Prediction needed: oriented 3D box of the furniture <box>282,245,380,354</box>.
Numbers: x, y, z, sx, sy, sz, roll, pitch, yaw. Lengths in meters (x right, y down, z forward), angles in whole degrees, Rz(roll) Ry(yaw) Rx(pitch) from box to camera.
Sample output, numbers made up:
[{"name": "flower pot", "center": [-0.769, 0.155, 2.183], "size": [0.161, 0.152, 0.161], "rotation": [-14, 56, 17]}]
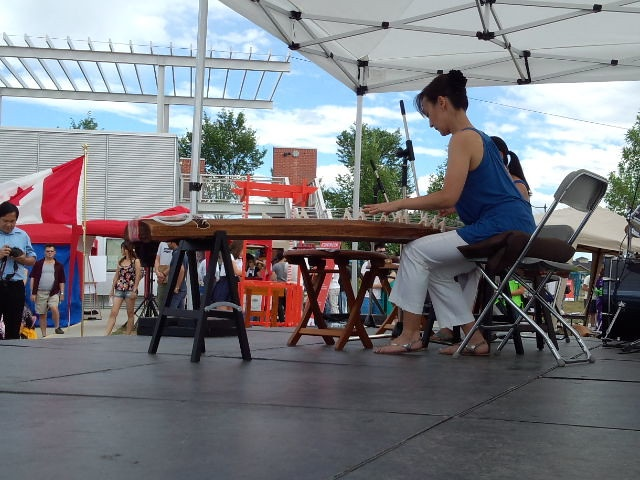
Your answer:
[{"name": "furniture", "center": [0.122, 0.501, 4.950], "size": [0.883, 0.772, 0.858], "rotation": [6, -4, -32]}]

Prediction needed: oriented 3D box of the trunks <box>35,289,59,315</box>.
[{"name": "trunks", "center": [-5.354, 1.203, 11.972], "size": [0.375, 0.649, 0.513], "rotation": [-3, -5, 42]}]

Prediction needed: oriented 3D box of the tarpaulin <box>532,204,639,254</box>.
[{"name": "tarpaulin", "center": [3.829, -0.148, 8.694], "size": [1.071, 0.506, 1.041], "rotation": [2, 0, -44]}]

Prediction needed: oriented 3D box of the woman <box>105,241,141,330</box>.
[{"name": "woman", "center": [-3.406, 0.886, 10.725], "size": [0.517, 1.632, 1.984], "rotation": [3, -4, -19]}]

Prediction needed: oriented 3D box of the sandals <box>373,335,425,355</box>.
[{"name": "sandals", "center": [0.575, 0.760, 4.398], "size": [0.354, 0.124, 0.124], "rotation": [3, -13, -22]}]

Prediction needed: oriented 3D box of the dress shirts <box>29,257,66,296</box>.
[{"name": "dress shirts", "center": [-5.296, 0.746, 11.876], "size": [0.863, 0.887, 0.493], "rotation": [4, -11, -28]}]

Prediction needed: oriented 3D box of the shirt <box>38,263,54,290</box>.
[{"name": "shirt", "center": [-5.390, 0.735, 12.087], "size": [0.288, 0.549, 0.155], "rotation": [3, -4, -25]}]

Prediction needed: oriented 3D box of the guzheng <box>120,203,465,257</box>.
[{"name": "guzheng", "center": [-0.265, -0.043, 4.181], "size": [2.046, 0.253, 0.707], "rotation": [3, -4, -17]}]

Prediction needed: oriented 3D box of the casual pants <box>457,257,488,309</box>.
[{"name": "casual pants", "center": [1.152, 0.321, 4.635], "size": [0.114, 0.117, 0.496], "rotation": [15, -15, 22]}]

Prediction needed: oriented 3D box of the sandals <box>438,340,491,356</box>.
[{"name": "sandals", "center": [1.059, 0.782, 4.399], "size": [0.319, 0.112, 0.129], "rotation": [4, -9, 7]}]

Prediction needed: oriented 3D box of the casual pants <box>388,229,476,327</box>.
[{"name": "casual pants", "center": [0.803, 0.276, 4.546], "size": [0.588, 0.681, 0.557], "rotation": [13, -12, -36]}]

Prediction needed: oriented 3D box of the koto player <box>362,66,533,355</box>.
[{"name": "koto player", "center": [0.984, -0.204, 4.688], "size": [1.291, 2.070, 1.087], "rotation": [1, 2, 2]}]
